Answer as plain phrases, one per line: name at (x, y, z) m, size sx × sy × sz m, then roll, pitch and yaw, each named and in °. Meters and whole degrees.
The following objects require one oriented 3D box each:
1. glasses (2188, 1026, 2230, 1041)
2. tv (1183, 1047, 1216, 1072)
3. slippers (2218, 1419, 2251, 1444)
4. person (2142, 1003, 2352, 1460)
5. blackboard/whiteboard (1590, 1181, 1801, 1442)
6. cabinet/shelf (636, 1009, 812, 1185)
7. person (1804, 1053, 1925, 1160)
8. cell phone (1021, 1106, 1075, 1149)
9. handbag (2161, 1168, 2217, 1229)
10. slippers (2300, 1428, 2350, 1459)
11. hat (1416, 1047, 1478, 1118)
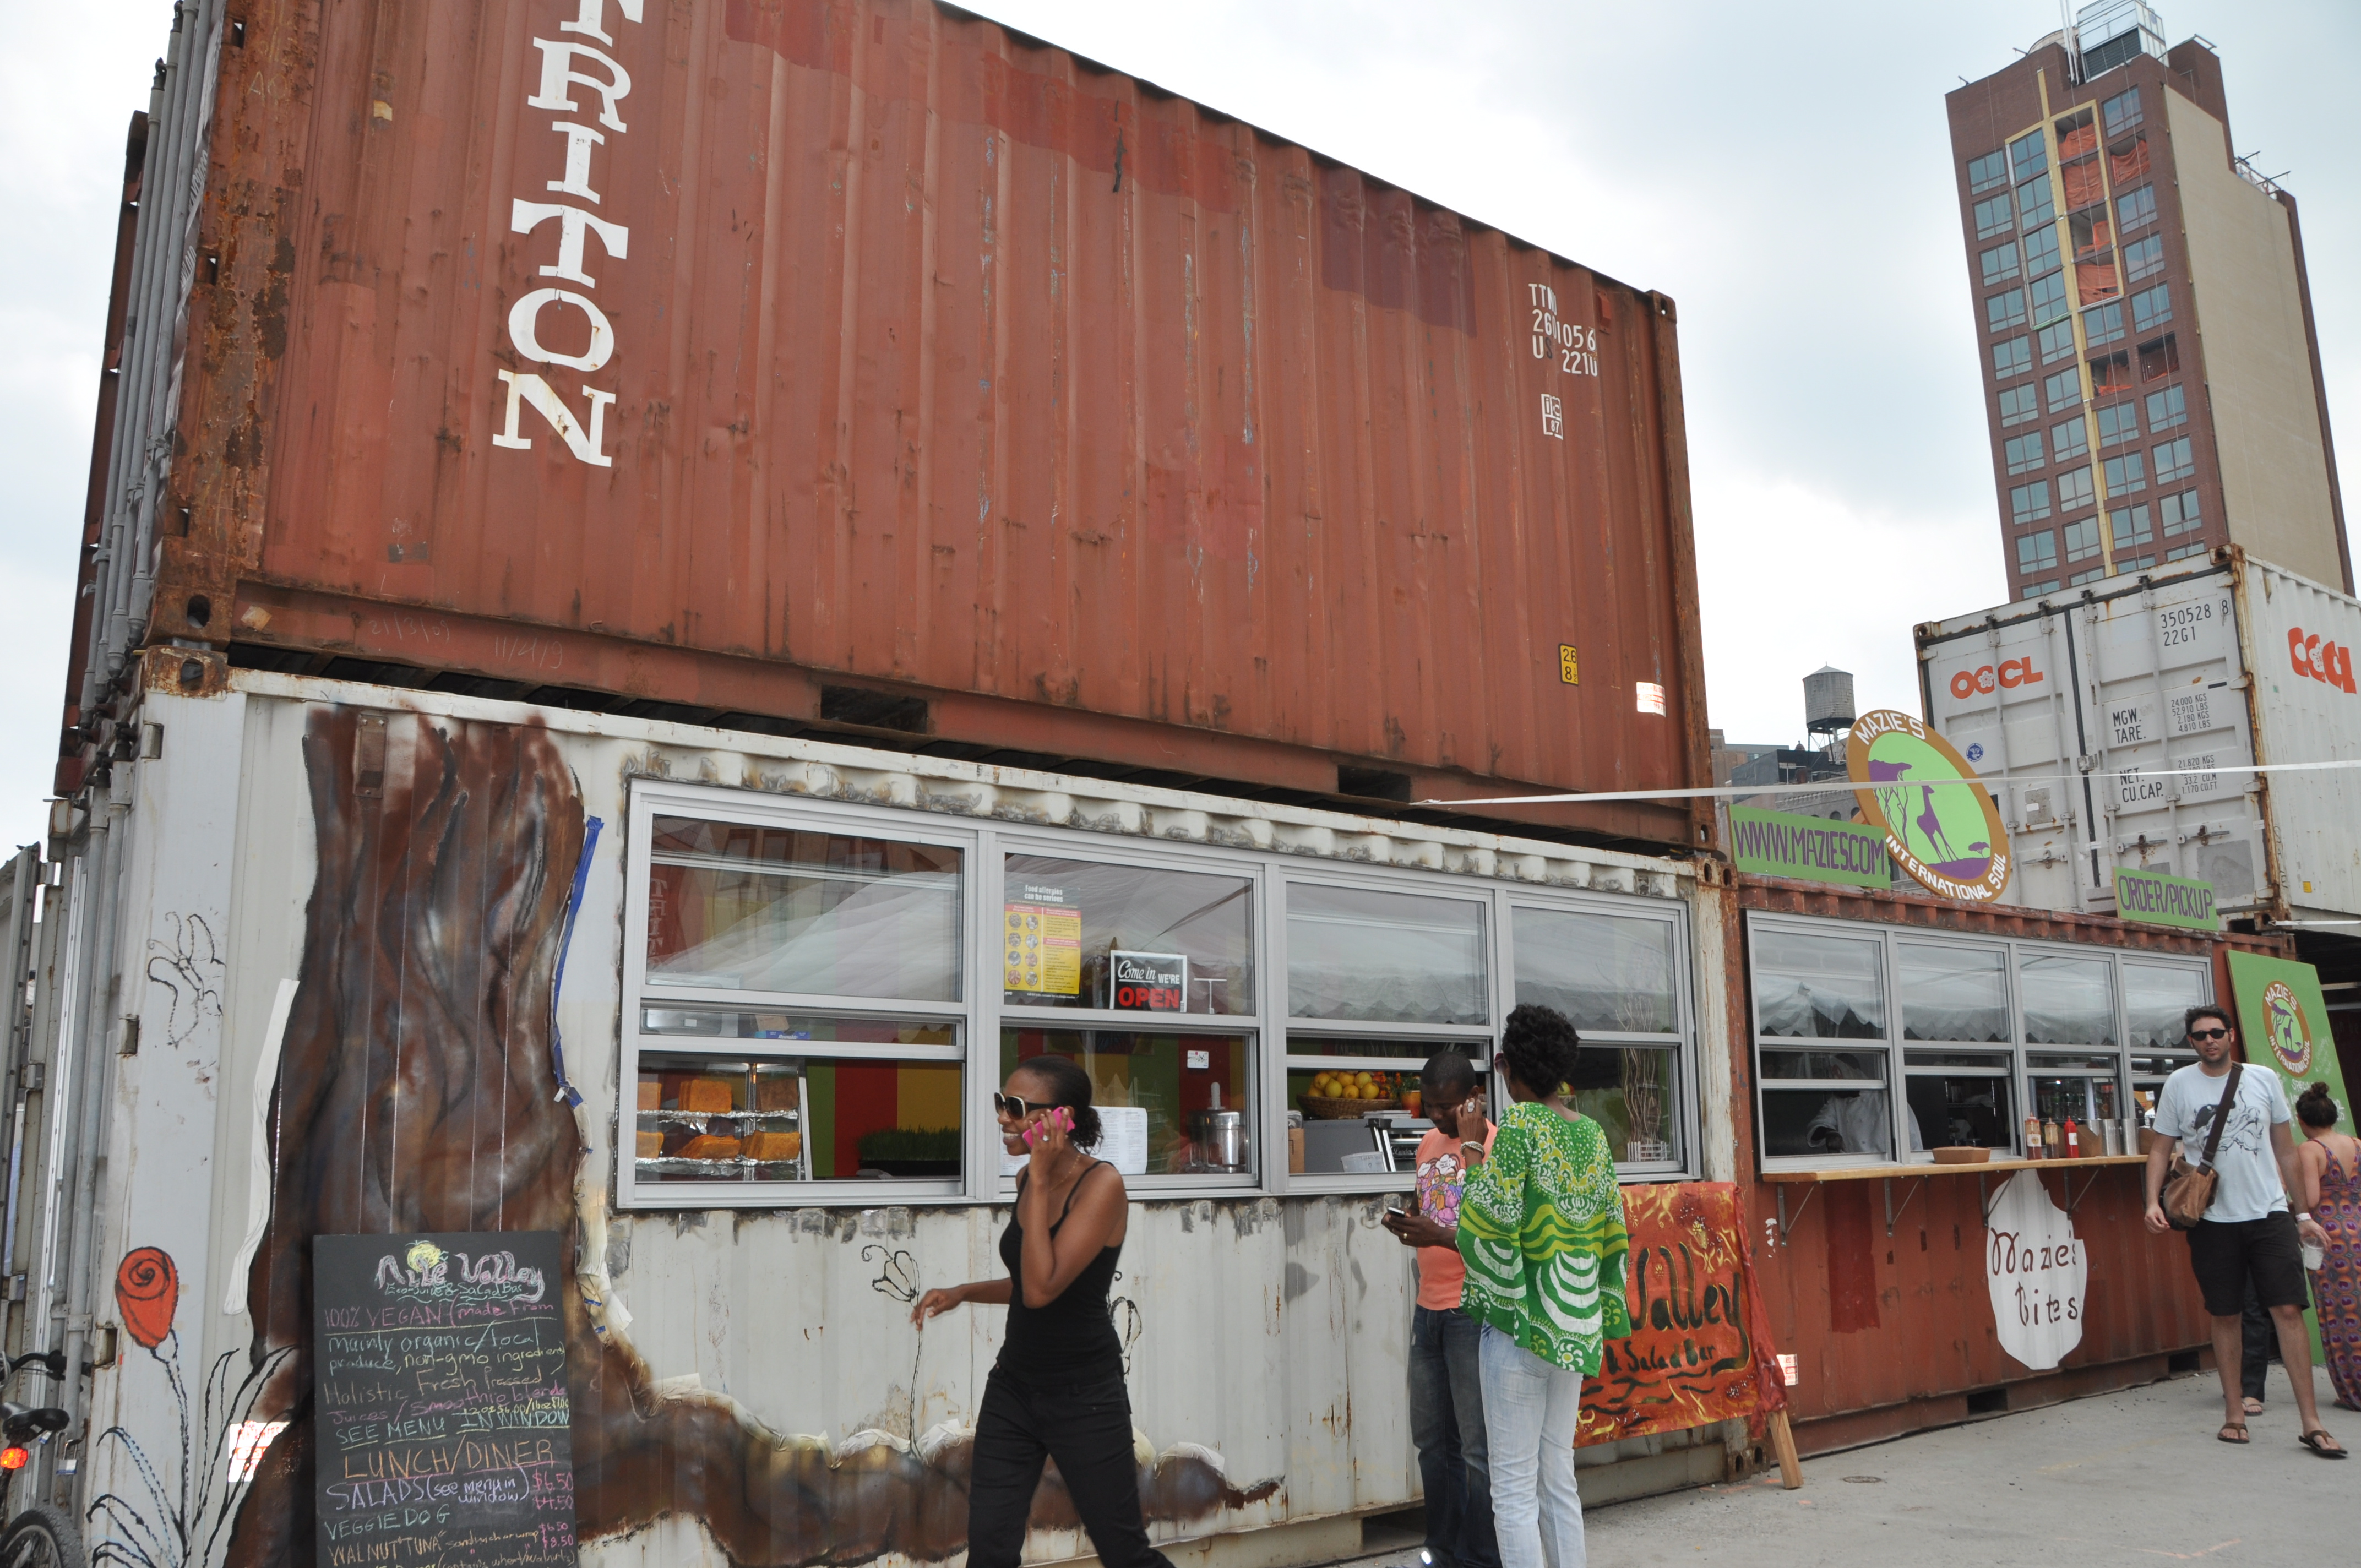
glasses at (6.577, 1.605, 11.910) m, size 0.207 × 0.077 × 0.215 m, roll -9°, pitch -15°, yaw 20°
tv at (0.103, 1.481, 9.962) m, size 0.154 × 0.129 × 0.094 m, roll 2°, pitch -2°, yaw -17°
slippers at (6.652, 4.096, 11.775) m, size 0.117 × 0.102 × 0.239 m, roll 0°, pitch -3°, yaw 8°
person at (6.756, 2.859, 11.965) m, size 1.000 × 2.744 × 0.943 m, roll -6°, pitch -13°, yaw 17°
blackboard/whiteboard at (3.263, 3.160, 11.229) m, size 0.986 × 1.407 × 1.832 m, roll 4°, pitch -16°, yaw -20°
cabinet/shelf at (-2.148, 1.556, 8.788) m, size 1.097 × 0.885 × 0.625 m, roll 8°, pitch -15°, yaw -36°
person at (4.639, 2.225, 12.682) m, size 0.687 × 0.795 × 0.172 m, roll -6°, pitch 2°, yaw -37°
cell phone at (-0.540, 1.393, 7.533) m, size 0.139 × 0.086 × 0.197 m, roll -5°, pitch -3°, yaw -1°
handbag at (6.469, 2.670, 11.928) m, size 0.172 × 0.413 × 0.288 m, roll 34°, pitch -25°, yaw -25°
slippers at (6.948, 4.025, 11.317) m, size 0.130 × 0.114 × 0.261 m, roll 1°, pitch -8°, yaw -17°
hat at (1.283, 1.458, 9.042) m, size 0.286 × 0.416 × 0.375 m, roll -1°, pitch -11°, yaw 10°
